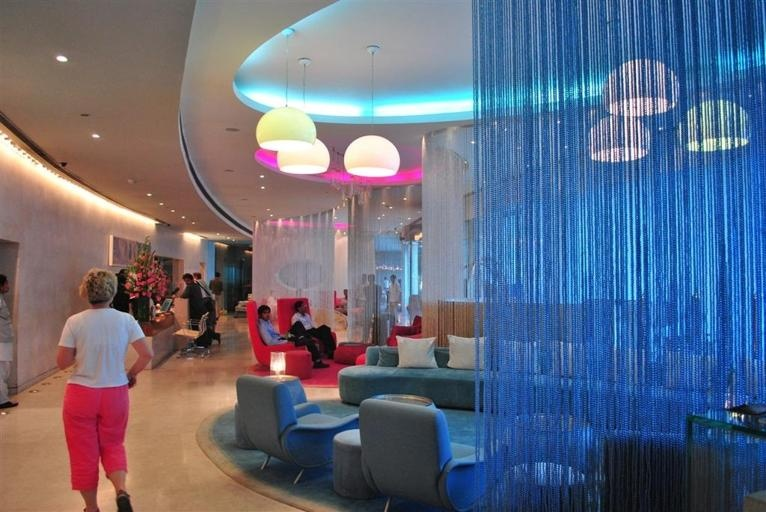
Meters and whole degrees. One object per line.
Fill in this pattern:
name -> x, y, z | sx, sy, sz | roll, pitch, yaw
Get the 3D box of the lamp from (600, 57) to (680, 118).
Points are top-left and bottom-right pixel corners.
lamp -> 1.774, -1.084, 4.196 | 0.415, 0.262, 0.417 | 0, -3, -19

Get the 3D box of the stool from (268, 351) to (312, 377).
stool -> -1.430, 1.752, 9.680 | 0.719, 0.510, 0.726 | 0, -9, -4

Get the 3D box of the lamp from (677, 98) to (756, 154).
lamp -> 2.241, -0.854, 4.108 | 0.371, 0.235, 0.375 | 0, -5, 3

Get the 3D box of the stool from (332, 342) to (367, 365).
stool -> -0.644, 1.800, 11.266 | 0.556, 0.500, 0.461 | -1, -2, 23

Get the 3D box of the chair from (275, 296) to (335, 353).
chair -> -1.511, 1.378, 12.272 | 1.242, 1.342, 0.893 | -8, -10, 34

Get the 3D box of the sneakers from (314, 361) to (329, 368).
sneakers -> -1.133, 1.985, 11.103 | 0.262, 0.181, 0.099 | 0, -4, -6

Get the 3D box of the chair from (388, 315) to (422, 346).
chair -> 0.397, 1.346, 10.901 | 0.509, 0.633, 0.455 | 0, -13, 9

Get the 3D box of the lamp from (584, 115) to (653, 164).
lamp -> 1.618, -0.787, 4.192 | 0.336, 0.211, 0.339 | 1, -4, -14

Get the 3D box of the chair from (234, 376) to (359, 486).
chair -> -0.912, 1.735, 6.345 | 1.358, 1.015, 1.229 | 0, 1, 22

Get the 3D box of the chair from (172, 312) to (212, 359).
chair -> -4.140, 1.792, 13.575 | 0.884, 1.058, 0.944 | 4, -9, -27

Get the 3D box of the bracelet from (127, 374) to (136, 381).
bracelet -> -2.166, 1.036, 5.215 | 0.053, 0.051, 0.014 | 8, 24, 13

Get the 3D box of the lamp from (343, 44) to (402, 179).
lamp -> -0.100, -1.802, 8.035 | 0.665, 1.509, 1.292 | 1, 4, 10

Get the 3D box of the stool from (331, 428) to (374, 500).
stool -> -0.244, 1.950, 5.823 | 0.473, 0.535, 0.480 | 0, 2, -1
